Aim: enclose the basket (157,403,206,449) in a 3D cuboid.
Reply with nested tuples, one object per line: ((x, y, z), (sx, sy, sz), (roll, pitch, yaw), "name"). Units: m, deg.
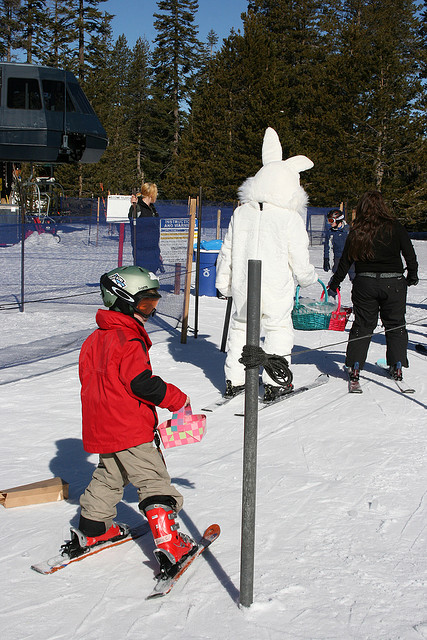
((-0.125, 0.447, 2.595), (0.234, 0.219, 0.162), (-15, -9, 4), "basket")

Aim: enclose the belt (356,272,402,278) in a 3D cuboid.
((1.532, -0.418, 5.505), (0.395, 0.046, 0.101), (0, 6, 9), "belt")

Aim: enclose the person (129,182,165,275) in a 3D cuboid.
((-0.896, -1.277, 8.106), (0.483, 1.275, 1.328), (-2, 6, -8), "person")

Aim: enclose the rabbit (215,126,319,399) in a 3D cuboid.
((0.434, -0.488, 5.260), (0.874, 2.310, 0.905), (1, 15, -4), "rabbit")

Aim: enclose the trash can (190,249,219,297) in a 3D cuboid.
((-0.113, -0.829, 10.880), (0.518, 0.941, 0.594), (0, 21, -4), "trash can")

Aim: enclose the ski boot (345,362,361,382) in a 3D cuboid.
((1.311, 0.498, 5.676), (0.074, 0.143, 0.215), (1, -4, 6), "ski boot")

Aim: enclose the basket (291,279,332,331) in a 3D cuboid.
((1.022, -0.154, 6.693), (0.590, 0.520, 0.493), (-3, 22, -6), "basket")

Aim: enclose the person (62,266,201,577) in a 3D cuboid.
((-0.361, 0.416, 2.518), (0.583, 1.273, 0.647), (-3, 7, -16), "person")

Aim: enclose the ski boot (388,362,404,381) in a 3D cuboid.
((1.791, 0.490, 5.851), (0.108, 0.193, 0.229), (1, 7, 17), "ski boot")
